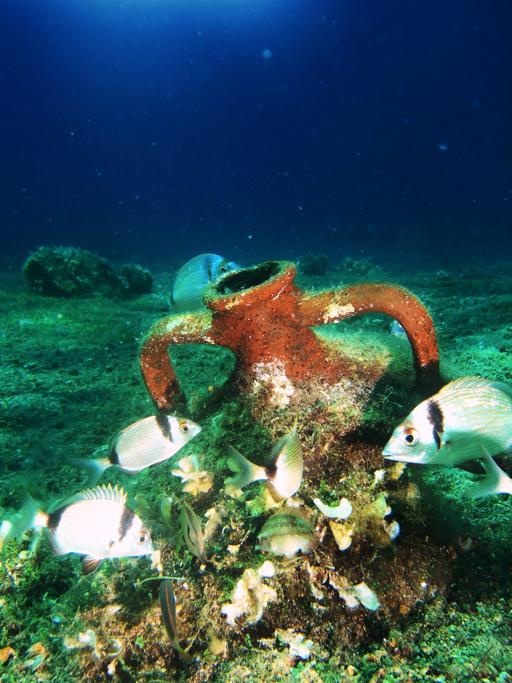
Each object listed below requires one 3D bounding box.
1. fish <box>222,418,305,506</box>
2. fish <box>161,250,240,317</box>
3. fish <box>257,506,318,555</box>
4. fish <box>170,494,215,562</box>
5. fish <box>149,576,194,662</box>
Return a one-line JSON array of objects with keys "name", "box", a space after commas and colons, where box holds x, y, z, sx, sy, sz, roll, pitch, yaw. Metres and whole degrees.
[{"name": "fish", "box": [0.033, 0.767, 3.436, 0.282, 0.404, 0.702, 3, -1, 37]}, {"name": "fish", "box": [-0.666, -0.683, 5.879, 0.934, 0.243, 0.513, -24, -23, -7]}, {"name": "fish", "box": [0.180, 1.196, 3.444, 0.340, 0.267, 0.133, -3, 11, 11]}, {"name": "fish", "box": [-0.381, 1.163, 3.429, 0.170, 0.498, 0.207, -25, -20, -1]}, {"name": "fish", "box": [-0.480, 1.532, 3.194, 0.151, 0.601, 0.108, -15, -16, 24]}]
